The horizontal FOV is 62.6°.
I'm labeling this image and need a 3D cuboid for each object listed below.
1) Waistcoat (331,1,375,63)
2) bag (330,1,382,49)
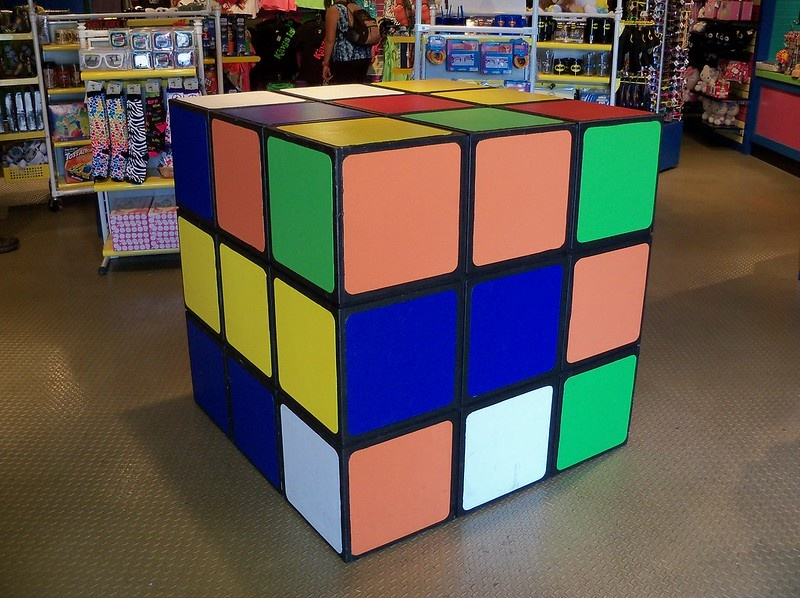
[{"bbox_3d":[-0.476,-2.535,6.249,0.277,0.543,0.387,31,50,33],"label":"Waistcoat"},{"bbox_3d":[-0.378,-2.634,6.306,0.422,0.440,0.318,18,41,29],"label":"bag"}]
